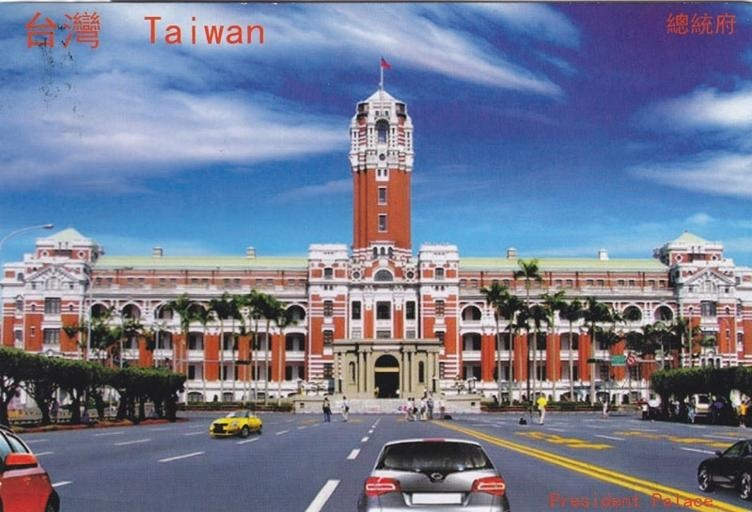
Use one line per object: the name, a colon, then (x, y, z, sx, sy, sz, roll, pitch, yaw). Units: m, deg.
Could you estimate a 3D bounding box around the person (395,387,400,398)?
person: (2.398, 15.531, 143.132, 0.775, 0.415, 1.523, -2, 19, 4)
